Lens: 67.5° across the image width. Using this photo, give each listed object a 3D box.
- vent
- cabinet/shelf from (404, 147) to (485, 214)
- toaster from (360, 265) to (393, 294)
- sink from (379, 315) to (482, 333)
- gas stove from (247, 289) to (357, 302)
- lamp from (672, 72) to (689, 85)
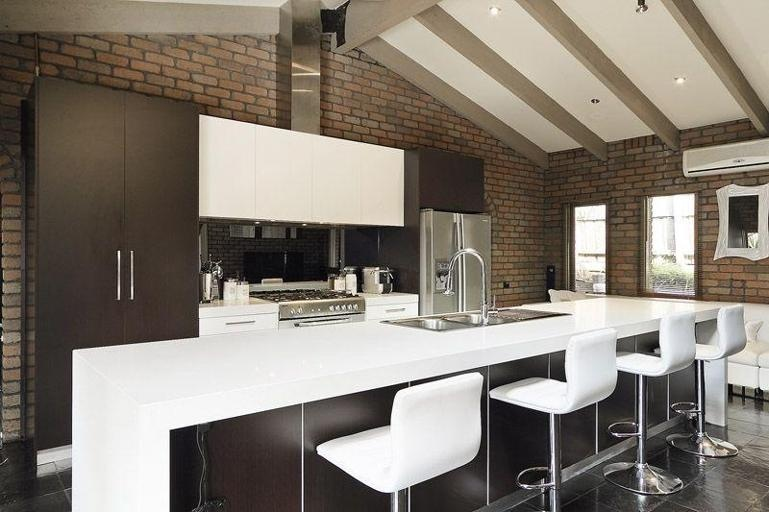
[{"bbox_3d":[-0.946,-1.480,6.125,2.548,2.411,0.882,1,-2,-37],"label":"vent"},{"bbox_3d":[0.685,-0.859,6.796,0.876,0.526,0.247,1,0,-40],"label":"cabinet/shelf"},{"bbox_3d":[-0.082,0.282,6.661,0.288,0.223,0.322,-2,-3,42],"label":"toaster"},{"bbox_3d":[0.452,0.540,4.577,0.900,0.113,0.432,-2,0,-25],"label":"sink"},{"bbox_3d":[-0.857,0.420,6.138,1.039,0.131,0.733,-2,0,-29],"label":"gas stove"},{"bbox_3d":[3.471,-2.076,6.756,0.108,0.202,0.102,-4,-1,6],"label":"lamp"}]
